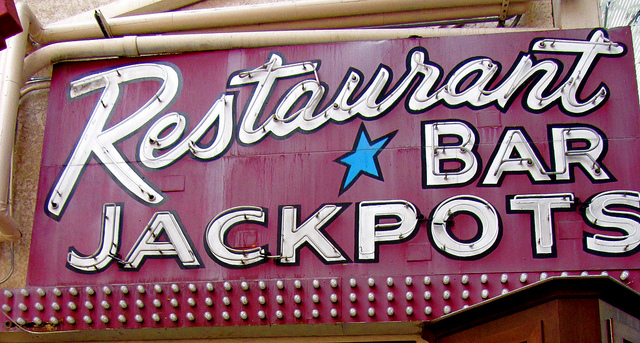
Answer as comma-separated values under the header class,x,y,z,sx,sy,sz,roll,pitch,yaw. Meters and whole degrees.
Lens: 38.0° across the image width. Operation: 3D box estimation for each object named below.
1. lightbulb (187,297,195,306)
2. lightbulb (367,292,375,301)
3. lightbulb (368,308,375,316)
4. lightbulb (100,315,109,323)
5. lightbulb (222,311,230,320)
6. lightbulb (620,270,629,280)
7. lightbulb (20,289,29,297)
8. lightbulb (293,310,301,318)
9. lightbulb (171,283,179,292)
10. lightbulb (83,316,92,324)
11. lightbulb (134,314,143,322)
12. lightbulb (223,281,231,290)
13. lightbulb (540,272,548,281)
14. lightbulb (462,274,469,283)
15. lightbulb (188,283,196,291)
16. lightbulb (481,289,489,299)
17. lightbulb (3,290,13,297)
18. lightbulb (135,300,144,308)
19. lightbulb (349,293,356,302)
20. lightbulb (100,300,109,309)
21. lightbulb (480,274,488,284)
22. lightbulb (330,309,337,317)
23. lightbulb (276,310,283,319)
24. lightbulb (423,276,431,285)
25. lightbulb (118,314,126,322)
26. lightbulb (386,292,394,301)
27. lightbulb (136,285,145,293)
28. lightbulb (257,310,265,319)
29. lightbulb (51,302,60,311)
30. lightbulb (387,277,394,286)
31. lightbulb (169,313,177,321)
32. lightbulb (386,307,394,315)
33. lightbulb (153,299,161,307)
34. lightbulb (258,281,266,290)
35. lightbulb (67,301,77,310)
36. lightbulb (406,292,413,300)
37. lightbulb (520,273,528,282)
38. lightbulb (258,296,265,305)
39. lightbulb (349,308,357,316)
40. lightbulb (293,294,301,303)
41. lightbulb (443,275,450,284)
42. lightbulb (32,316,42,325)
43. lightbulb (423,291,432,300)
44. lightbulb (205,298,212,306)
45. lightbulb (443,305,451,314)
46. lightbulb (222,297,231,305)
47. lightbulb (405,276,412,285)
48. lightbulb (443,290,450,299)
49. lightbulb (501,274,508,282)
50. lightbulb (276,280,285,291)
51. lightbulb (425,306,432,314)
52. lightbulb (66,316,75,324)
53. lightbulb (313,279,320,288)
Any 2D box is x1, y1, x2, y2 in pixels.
class,x,y,z,sx,sy,sz,roll,pitch,yaw
lightbulb,-2.941,3.000,21.527,0.175,0.179,0.115,2,-38,5
lightbulb,1.197,2.858,21.152,0.142,0.147,0.108,7,-33,14
lightbulb,1.192,3.193,21.089,0.126,0.128,0.099,12,-56,31
lightbulb,-4.982,3.441,21.654,0.188,0.139,0.105,6,-38,0
lightbulb,-2.109,3.306,21.402,0.165,0.134,0.172,5,-51,22
lightbulb,6.834,2.341,20.827,0.112,0.187,0.125,31,-4,-29
lightbulb,-6.916,2.871,21.968,0.204,0.149,0.094,4,-38,2
lightbulb,-0.485,3.257,21.233,0.163,0.154,0.080,6,-38,-1
lightbulb,-3.327,2.718,21.630,0.151,0.127,0.126,15,-5,24
lightbulb,-5.373,3.459,21.701,0.211,0.144,0.118,0,-38,8
lightbulb,-4.159,3.410,21.551,0.201,0.131,0.114,4,-38,2
lightbulb,-2.105,2.656,21.539,0.152,0.157,0.135,-5,-40,5
lightbulb,5.053,2.377,20.948,0.131,0.180,0.172,0,-12,11
lightbulb,3.325,2.444,21.090,0.142,0.165,0.072,-1,-38,8
lightbulb,-2.921,2.691,21.598,0.174,0.145,0.088,11,-38,-7
lightbulb,3.728,2.760,21.006,0.171,0.175,0.194,31,-9,18
lightbulb,-7.312,2.894,22.009,0.203,0.123,0.089,-2,-38,10
lightbulb,-4.144,3.081,21.637,0.191,0.147,0.116,20,-40,-17
lightbulb,0.773,2.873,21.188,0.128,0.164,0.166,0,-16,-1
lightbulb,-4.974,3.106,21.730,0.197,0.170,0.102,1,-38,6
lightbulb,3.722,2.432,21.015,0.131,0.167,0.170,0,-1,-1
lightbulb,0.341,3.219,21.171,0.162,0.154,0.091,6,-38,-1
lightbulb,-0.891,3.270,21.266,0.154,0.165,0.094,4,-38,2
lightbulb,2.457,2.473,21.158,0.169,0.195,0.088,1,-38,6
lightbulb,-4.550,3.404,21.611,0.179,0.160,0.102,0,-38,7
lightbulb,1.620,2.835,21.144,0.141,0.164,0.107,0,-38,8
lightbulb,-4.132,2.748,21.713,0.180,0.155,0.114,20,-40,-17
lightbulb,-1.307,3.278,21.310,0.155,0.161,0.097,4,-38,2
lightbulb,-6.142,3.169,21.835,0.176,0.169,0.089,2,-38,4
lightbulb,1.622,2.515,21.204,0.150,0.155,0.111,13,-14,38
lightbulb,-3.340,3.368,21.486,0.168,0.139,0.090,3,-38,3
lightbulb,1.616,3.163,21.036,0.136,0.166,0.141,-5,-7,6
lightbulb,-3.737,3.063,21.591,0.172,0.144,0.146,44,-53,5
lightbulb,-1.285,2.623,21.463,0.166,0.173,0.103,29,-43,-27
lightbulb,-5.756,3.150,21.809,0.234,0.176,0.095,12,-38,-8
lightbulb,2.041,2.836,21.111,0.134,0.138,0.103,-19,-50,19
lightbulb,4.603,2.401,20.929,0.153,0.147,0.172,1,-74,6
lightbulb,-1.303,2.966,21.386,0.138,0.170,0.110,5,-38,1
lightbulb,0.778,3.201,21.125,0.140,0.170,0.143,4,2,-21
lightbulb,-0.493,2.919,21.304,0.176,0.156,0.110,5,-38,1
lightbulb,2.885,2.465,21.100,0.133,0.151,0.154,1,-4,-30
lightbulb,-6.566,3.502,21.784,0.182,0.061,0.135,27,-9,2
lightbulb,2.457,2.790,21.059,0.168,0.173,0.081,-4,-39,12
lightbulb,-2.530,3.010,21.470,0.173,0.124,0.123,9,-38,-4
lightbulb,2.879,3.109,20.925,0.167,0.189,0.075,1,-38,7
lightbulb,-2.110,2.991,21.455,0.191,0.147,0.116,9,-38,-4
lightbulb,2.042,2.492,21.161,0.146,0.154,0.150,-5,-9,16
lightbulb,2.893,2.781,21.032,0.168,0.163,0.120,-1,-38,8
lightbulb,4.176,2.432,20.981,0.136,0.147,0.127,-1,-3,14
lightbulb,-0.855,2.642,21.480,0.186,0.191,0.218,-11,-46,24
lightbulb,2.470,3.120,20.964,0.154,0.165,0.080,0,-38,7
lightbulb,-5.775,3.466,21.718,0.202,0.153,0.102,15,-39,-11
lightbulb,-0.052,2.578,21.385,0.151,0.193,0.078,5,-37,1
